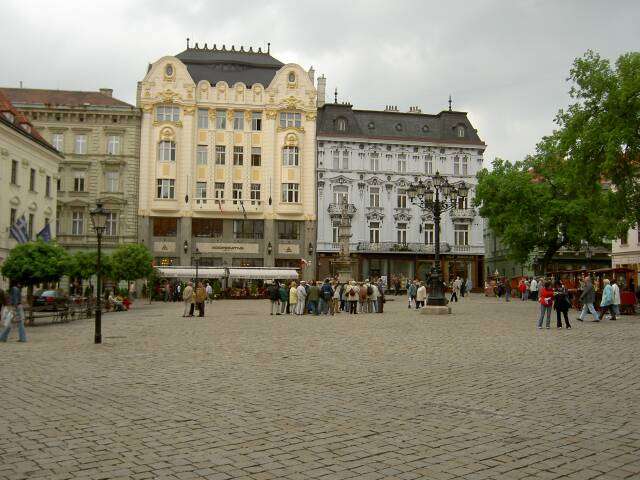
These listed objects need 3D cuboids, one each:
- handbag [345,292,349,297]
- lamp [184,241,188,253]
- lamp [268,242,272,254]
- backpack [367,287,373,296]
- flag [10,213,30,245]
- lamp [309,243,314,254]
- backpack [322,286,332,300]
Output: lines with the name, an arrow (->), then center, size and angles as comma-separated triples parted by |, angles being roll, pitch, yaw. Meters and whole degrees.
handbag -> 1.407, 2.730, 37.052 | 0.198, 0.198, 0.216 | 2, -8, -3
lamp -> -11.414, 0.540, 63.589 | 0.481, 1.083, 0.238 | 1, -5, -7
lamp -> -4.297, 0.740, 64.757 | 0.385, 1.038, 0.219 | 0, -5, -5
backpack -> 2.525, 2.515, 36.349 | 0.294, 0.428, 0.213 | -2, -5, 20
flag -> -15.768, -0.603, 39.031 | 0.773, 1.596, 1.700 | 1, -5, -18
lamp -> -0.720, 0.755, 65.751 | 0.468, 0.938, 0.316 | -2, -5, 21
backpack -> 0.366, 2.536, 35.833 | 0.672, 0.642, 0.371 | 0, -4, -8
